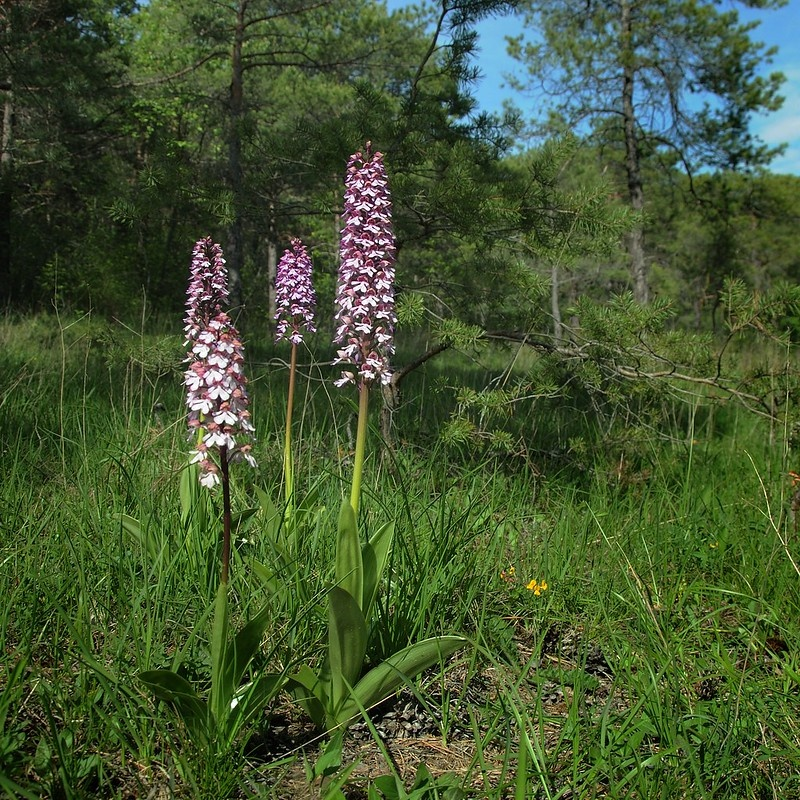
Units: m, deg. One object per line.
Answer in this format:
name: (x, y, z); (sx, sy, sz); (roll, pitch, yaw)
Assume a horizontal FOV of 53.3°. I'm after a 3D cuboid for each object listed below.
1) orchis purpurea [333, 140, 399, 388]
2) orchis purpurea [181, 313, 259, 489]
orchis purpurea: (-0.141, -0.588, 3.503); (0.263, 1.000, 0.237); (3, 4, -1)
orchis purpurea: (-0.680, 0.017, 3.018); (0.260, 0.699, 0.320); (2, 5, -15)
